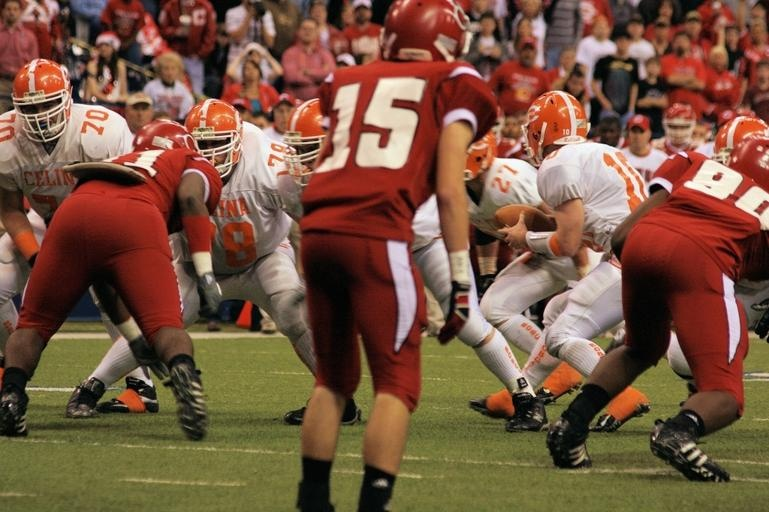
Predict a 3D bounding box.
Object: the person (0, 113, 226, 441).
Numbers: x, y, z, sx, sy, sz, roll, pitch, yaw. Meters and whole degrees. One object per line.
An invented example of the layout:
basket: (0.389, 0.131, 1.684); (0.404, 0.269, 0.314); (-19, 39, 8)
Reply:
person: (-1.410, 0.201, 5.211); (1.183, 1.570, 0.762); (1, 4, 8)

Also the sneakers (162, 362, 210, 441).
sneakers: (-0.998, 0.721, 4.897); (0.178, 0.434, 0.247); (0, 4, -14)

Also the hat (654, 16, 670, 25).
hat: (3.777, -3.190, 13.122); (0.240, 0.129, 0.353); (4, 14, 13)

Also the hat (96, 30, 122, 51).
hat: (-3.294, -2.570, 11.570); (0.242, 0.258, 0.434); (-1, 4, -20)

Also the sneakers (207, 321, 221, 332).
sneakers: (-1.807, 0.748, 10.242); (0.090, 0.052, 0.146); (-3, -13, -1)

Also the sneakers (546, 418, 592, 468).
sneakers: (0.940, 0.958, 4.948); (0.192, 0.273, 0.091); (-44, 15, -7)

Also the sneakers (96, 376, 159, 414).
sneakers: (-1.605, 0.907, 6.244); (0.436, 0.181, 0.167); (8, -13, -34)

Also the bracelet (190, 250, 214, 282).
bracelet: (-1.049, 0.062, 5.482); (0.139, 0.182, 0.153); (3, -30, -20)

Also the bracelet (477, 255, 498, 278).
bracelet: (0.749, 0.082, 7.193); (0.144, 0.133, 0.130); (14, -23, -26)

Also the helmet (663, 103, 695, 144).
helmet: (3.065, -1.390, 10.334); (0.370, 0.398, 0.465); (0, 11, 11)

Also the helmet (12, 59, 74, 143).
helmet: (-2.134, -0.989, 6.160); (0.390, 0.478, 0.523); (-3, 19, -1)

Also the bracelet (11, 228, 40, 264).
bracelet: (-2.247, -0.060, 6.054); (0.081, 0.092, 0.293); (-37, 19, -16)

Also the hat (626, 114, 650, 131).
hat: (2.720, -1.420, 10.406); (0.269, 0.190, 0.382); (-1, 4, 17)

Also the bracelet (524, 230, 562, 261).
bracelet: (0.957, -0.061, 5.790); (0.261, 0.134, 0.207); (9, 0, 29)

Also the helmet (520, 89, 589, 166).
helmet: (1.056, -0.801, 6.032); (0.368, 0.408, 0.450); (-3, 22, -9)

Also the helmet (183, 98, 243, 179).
helmet: (-1.034, -0.736, 6.015); (0.369, 0.404, 0.498); (-2, 12, 4)

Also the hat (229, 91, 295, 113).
hat: (-1.399, -1.728, 11.179); (0.886, 0.219, 0.443); (-4, 8, -3)

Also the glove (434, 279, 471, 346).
glove: (0.300, 0.241, 4.177); (0.083, 0.241, 0.181); (23, 2, 28)
